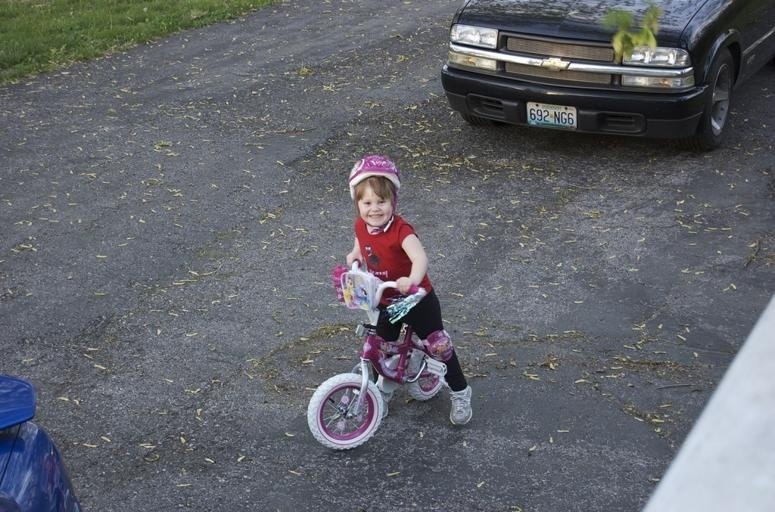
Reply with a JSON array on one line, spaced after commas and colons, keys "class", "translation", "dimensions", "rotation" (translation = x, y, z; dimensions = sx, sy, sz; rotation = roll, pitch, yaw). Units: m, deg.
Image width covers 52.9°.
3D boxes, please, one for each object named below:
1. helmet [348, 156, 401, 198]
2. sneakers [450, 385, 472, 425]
[{"class": "helmet", "translation": [-0.081, -0.594, 5.932], "dimensions": [0.340, 0.429, 0.357], "rotation": [5, 84, -1]}, {"class": "sneakers", "translation": [0.585, 1.165, 6.193], "dimensions": [0.159, 0.138, 0.319], "rotation": [-3, 48, 10]}]
